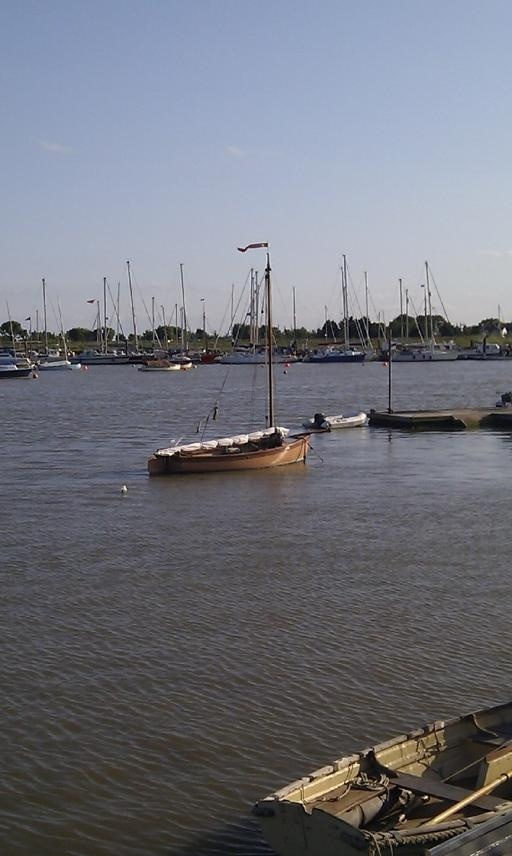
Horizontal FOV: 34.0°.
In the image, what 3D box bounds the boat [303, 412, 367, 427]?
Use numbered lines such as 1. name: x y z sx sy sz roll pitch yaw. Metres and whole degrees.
1. boat: 6.040 -0.450 62.457 3.077 1.185 1.824 -7 9 -19
